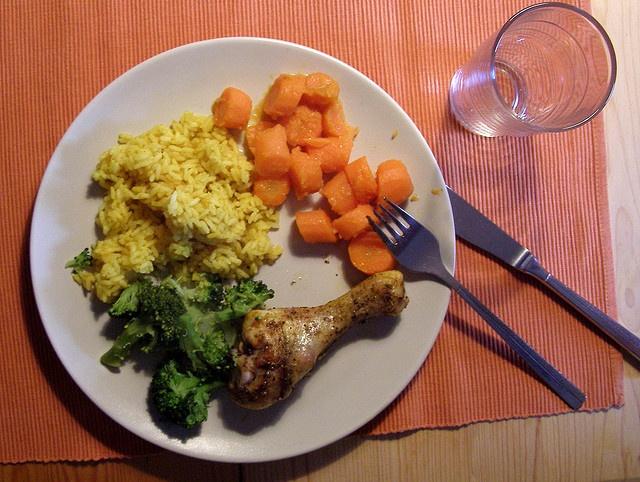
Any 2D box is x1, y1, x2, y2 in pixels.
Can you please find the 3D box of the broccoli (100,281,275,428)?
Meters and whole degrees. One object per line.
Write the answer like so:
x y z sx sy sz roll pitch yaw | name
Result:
-0.867 0.516 4.224 0.828 0.292 1.014 30 84 -1 | broccoli
